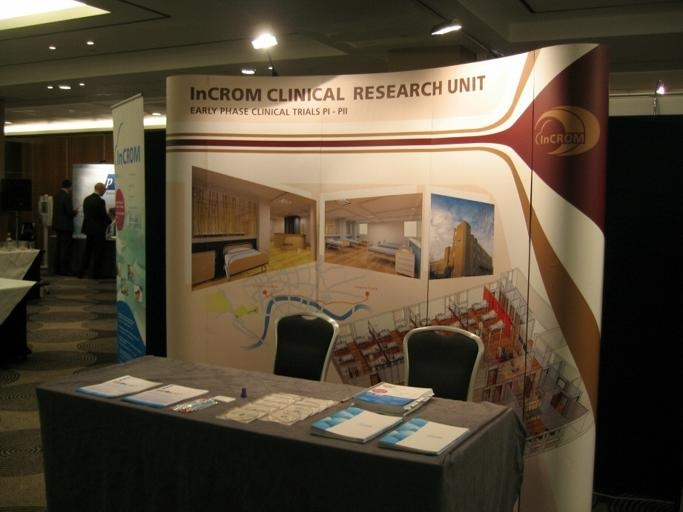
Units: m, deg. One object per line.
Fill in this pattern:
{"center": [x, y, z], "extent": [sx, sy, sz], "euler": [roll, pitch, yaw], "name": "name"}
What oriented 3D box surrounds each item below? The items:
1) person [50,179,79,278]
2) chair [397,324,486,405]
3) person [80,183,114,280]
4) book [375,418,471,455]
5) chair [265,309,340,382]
{"center": [-6.276, -0.552, 10.851], "extent": [0.832, 1.972, 0.377], "euler": [2, 10, 16], "name": "person"}
{"center": [0.656, 0.641, 3.220], "extent": [0.400, 0.811, 0.471], "euler": [2, -2, 24], "name": "chair"}
{"center": [-5.412, -0.539, 10.482], "extent": [0.627, 2.125, 1.060], "euler": [-9, 13, -40], "name": "person"}
{"center": [0.401, 0.873, 2.317], "extent": [0.364, 0.057, 0.356], "euler": [5, 14, 28], "name": "book"}
{"center": [-0.254, 0.639, 3.625], "extent": [0.367, 0.728, 0.468], "euler": [5, -4, 16], "name": "chair"}
